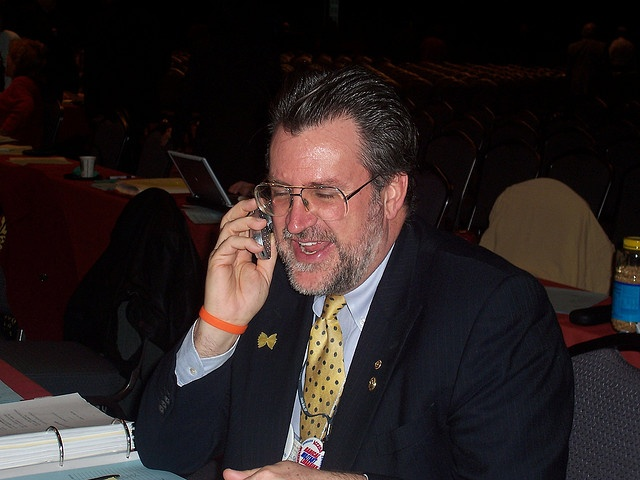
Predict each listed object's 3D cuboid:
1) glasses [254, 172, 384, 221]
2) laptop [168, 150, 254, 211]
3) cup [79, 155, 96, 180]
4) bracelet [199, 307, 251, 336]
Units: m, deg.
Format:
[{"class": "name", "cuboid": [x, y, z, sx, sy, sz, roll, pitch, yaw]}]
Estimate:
[{"class": "glasses", "cuboid": [-0.006, -0.121, 1.403, 0.320, 0.143, 0.122, 7, 5, 5]}, {"class": "laptop", "cuboid": [-0.888, -0.465, 3.903, 0.462, 0.341, 0.505, -6, 11, -39]}, {"class": "cup", "cuboid": [-2.104, -0.665, 4.587, 0.178, 0.210, 0.170, 5, 5, 0]}, {"class": "bracelet", "cuboid": [-0.299, 0.263, 1.514, 0.095, 0.025, 0.090, 25, 0, -33]}]
